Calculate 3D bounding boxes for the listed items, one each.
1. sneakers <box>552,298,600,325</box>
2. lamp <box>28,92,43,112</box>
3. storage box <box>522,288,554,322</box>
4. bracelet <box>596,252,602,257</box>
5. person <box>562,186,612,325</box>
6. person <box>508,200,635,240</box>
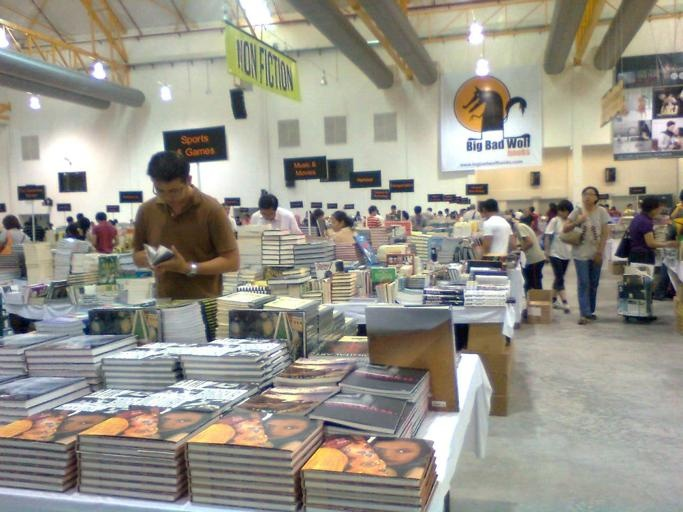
[{"bbox_3d":[3.252,0.785,7.805,0.174,0.239,0.570,-15,2,-31],"label":"sneakers"},{"bbox_3d":[-8.463,-4.302,15.295,0.208,0.399,1.105,-4,9,-31],"label":"lamp"},{"bbox_3d":[2.640,0.677,7.328,0.407,0.569,0.425,-1,-4,18],"label":"storage box"},{"bbox_3d":[3.135,-0.004,6.695,0.042,0.043,0.041,10,-28,-17],"label":"bracelet"},{"bbox_3d":[3.104,0.011,7.011,0.496,1.759,0.784,4,8,25],"label":"person"},{"bbox_3d":[4.332,-0.651,10.054,1.517,0.355,1.357,-7,8,-43],"label":"person"}]
